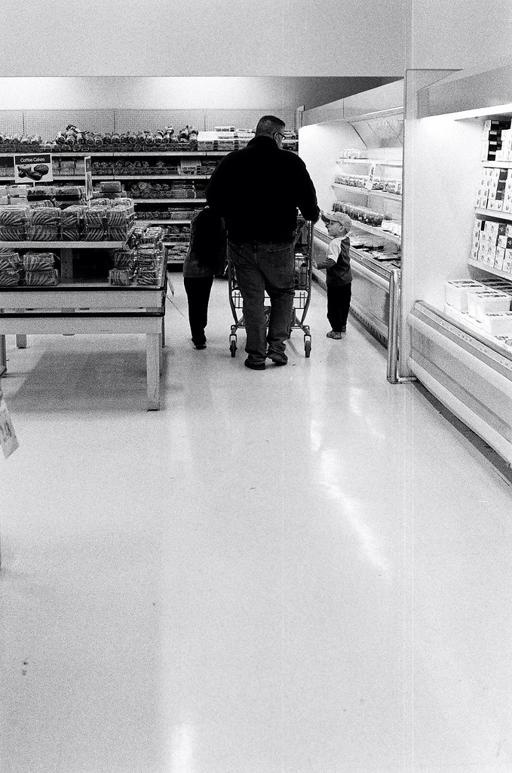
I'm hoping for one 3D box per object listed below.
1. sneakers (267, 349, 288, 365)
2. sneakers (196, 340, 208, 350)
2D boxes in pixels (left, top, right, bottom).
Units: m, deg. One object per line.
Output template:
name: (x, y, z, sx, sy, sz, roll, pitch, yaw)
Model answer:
sneakers: (0.187, -0.263, 5.124, 0.136, 0.128, 0.111, 2, 3, -13)
sneakers: (-0.531, -0.401, 5.657, 0.132, 0.129, 0.053, 4, 5, 6)
